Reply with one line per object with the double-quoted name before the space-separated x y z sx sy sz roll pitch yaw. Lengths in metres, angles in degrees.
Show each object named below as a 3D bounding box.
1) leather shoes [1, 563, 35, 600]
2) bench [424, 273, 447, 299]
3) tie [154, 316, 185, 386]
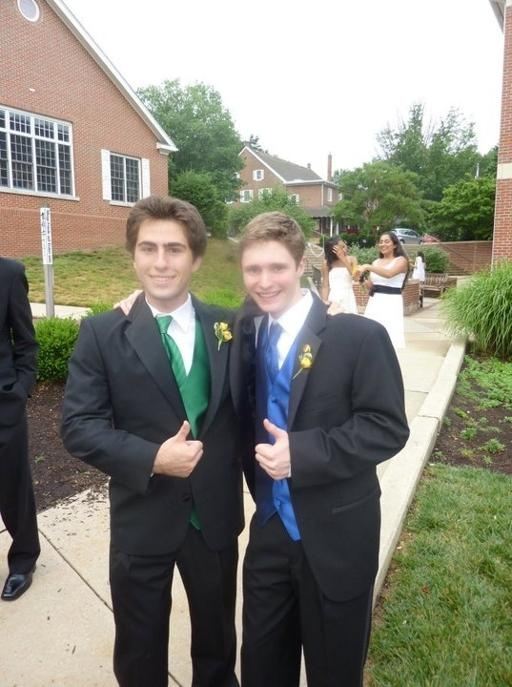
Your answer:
"leather shoes" -1.278 1.283 2.775 0.103 0.100 0.244 0 10 4
"bench" 7.089 -2.295 20.286 0.874 0.811 1.747 3 10 20
"tie" -0.316 0.020 1.861 0.060 0.361 0.040 -2 -22 -39
